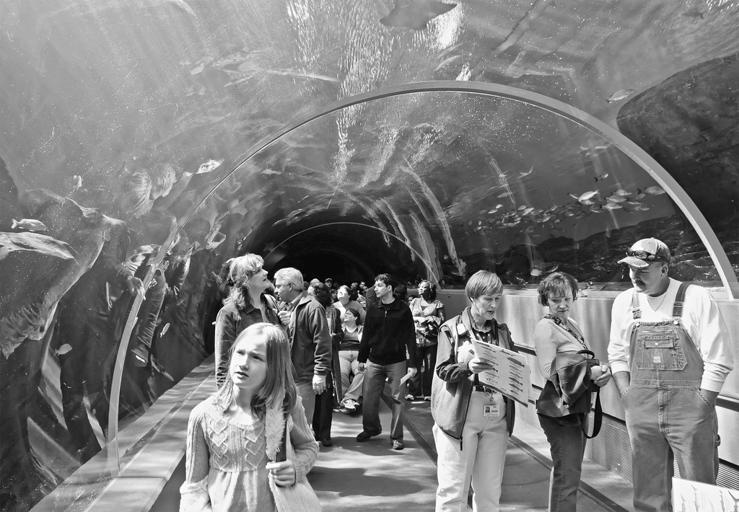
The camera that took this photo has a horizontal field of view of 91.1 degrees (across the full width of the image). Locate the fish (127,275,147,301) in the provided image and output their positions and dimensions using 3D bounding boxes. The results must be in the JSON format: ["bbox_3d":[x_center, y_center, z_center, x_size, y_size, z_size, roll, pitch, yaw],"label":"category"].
[{"bbox_3d":[-4.212,0.328,6.601,0.100,0.278,0.373,-17,29,-13],"label":"fish"}]

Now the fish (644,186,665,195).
[{"bbox_3d":[4.519,-1.063,5.768,0.103,0.148,0.306,1,-4,4],"label":"fish"}]

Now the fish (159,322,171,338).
[{"bbox_3d":[-5.019,1.370,8.917,0.111,0.149,0.626,26,-44,-21],"label":"fish"}]

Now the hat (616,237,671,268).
[{"bbox_3d":[2.788,-0.110,3.655,0.482,0.273,0.339,9,3,-16],"label":"hat"}]

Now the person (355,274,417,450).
[{"bbox_3d":[0.298,1.570,6.882,1.050,2.847,0.649,1,3,11],"label":"person"}]

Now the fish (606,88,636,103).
[{"bbox_3d":[3.663,-2.209,5.317,0.137,0.107,0.349,3,-5,-19],"label":"fish"}]

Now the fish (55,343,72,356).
[{"bbox_3d":[-4.045,0.974,4.829,0.075,0.064,0.130,21,14,-4],"label":"fish"}]

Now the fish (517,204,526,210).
[{"bbox_3d":[3.736,-1.299,8.947,0.131,0.135,0.036,-27,-37,17],"label":"fish"}]

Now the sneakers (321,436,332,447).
[{"bbox_3d":[-0.762,2.822,6.609,0.100,0.103,0.239,5,-17,-21],"label":"sneakers"}]

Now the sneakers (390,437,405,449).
[{"bbox_3d":[0.542,2.784,6.489,0.273,0.158,0.200,3,-5,-15],"label":"sneakers"}]

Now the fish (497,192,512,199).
[{"bbox_3d":[3.416,-1.589,9.191,0.151,0.123,0.507,2,-4,-10],"label":"fish"}]

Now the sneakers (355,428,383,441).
[{"bbox_3d":[-0.003,2.811,6.890,0.493,0.221,0.181,7,-10,-28],"label":"sneakers"}]

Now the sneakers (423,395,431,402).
[{"bbox_3d":[1.487,3.011,9.373,0.109,0.144,0.332,2,-24,-4],"label":"sneakers"}]

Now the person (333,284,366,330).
[{"bbox_3d":[-0.548,0.968,10.045,0.779,1.261,0.673,-18,-17,11],"label":"person"}]
